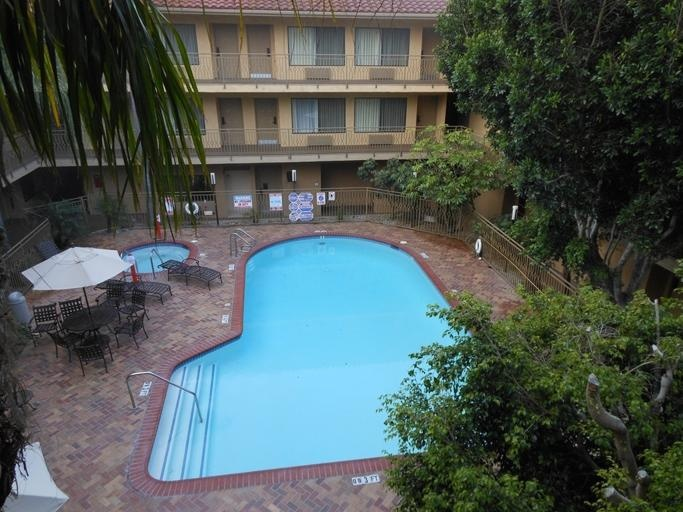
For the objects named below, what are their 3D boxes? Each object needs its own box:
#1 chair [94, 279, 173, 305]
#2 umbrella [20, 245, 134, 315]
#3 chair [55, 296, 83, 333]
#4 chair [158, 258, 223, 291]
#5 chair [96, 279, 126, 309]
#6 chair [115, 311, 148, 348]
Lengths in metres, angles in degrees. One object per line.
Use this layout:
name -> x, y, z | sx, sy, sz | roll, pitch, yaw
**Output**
chair -> -6.872, 1.064, 13.398 | 2.152, 0.615, 1.059 | 4, 24, -2
umbrella -> -6.900, 0.976, 10.883 | 1.766, 1.459, 1.858 | -5, 33, -16
chair -> -7.671, 1.663, 11.499 | 0.623, 0.992, 0.606 | -11, 24, -32
chair -> -5.564, 0.588, 15.353 | 2.290, 0.743, 0.915 | 5, 20, 22
chair -> -7.213, 1.195, 12.787 | 0.663, 1.038, 0.708 | 2, 16, -5
chair -> -6.082, 2.144, 11.795 | 0.526, 0.863, 0.500 | 10, 33, 1
